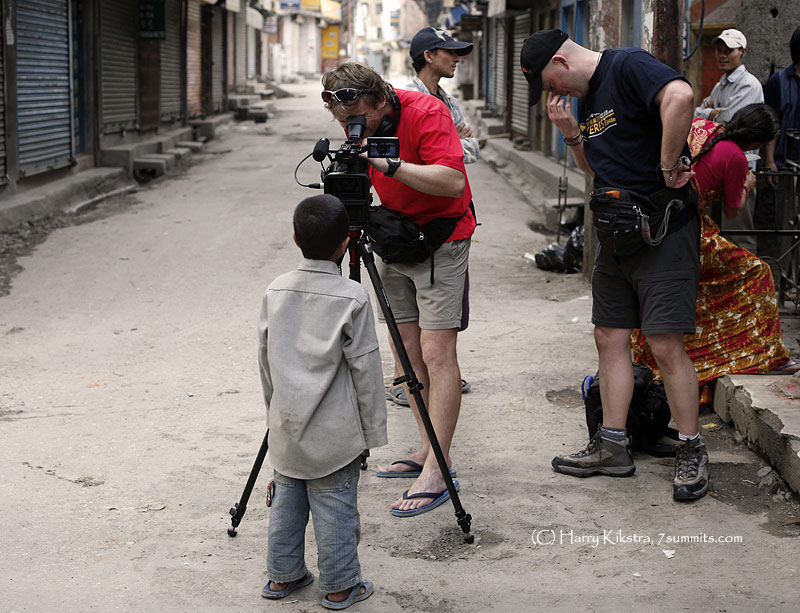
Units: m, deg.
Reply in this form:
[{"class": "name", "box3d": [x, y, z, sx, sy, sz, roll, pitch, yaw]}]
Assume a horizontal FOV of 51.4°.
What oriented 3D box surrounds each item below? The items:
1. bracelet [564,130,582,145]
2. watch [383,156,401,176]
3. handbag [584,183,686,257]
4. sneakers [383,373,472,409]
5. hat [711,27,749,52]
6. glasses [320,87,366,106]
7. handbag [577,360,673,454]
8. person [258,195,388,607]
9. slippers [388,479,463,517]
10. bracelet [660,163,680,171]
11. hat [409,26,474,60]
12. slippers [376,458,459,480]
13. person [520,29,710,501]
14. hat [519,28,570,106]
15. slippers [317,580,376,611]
[{"class": "bracelet", "box3d": [0.898, -0.865, 4.288, 0.066, 0.028, 0.068, 9, -27, -22]}, {"class": "watch", "box3d": [-0.025, -0.625, 3.658, 0.053, 0.067, 0.076, 7, 2, 5]}, {"class": "handbag", "box3d": [1.135, -0.405, 3.986, 0.393, 0.270, 0.307, -5, 7, -14]}, {"class": "sneakers", "box3d": [0.192, 0.554, 5.199, 0.248, 0.253, 0.666, -1, -7, -40]}, {"class": "hat", "box3d": [3.072, -2.419, 7.641, 0.236, 0.161, 0.325, 30, 18, 38]}, {"class": "glasses", "box3d": [-0.264, -0.961, 3.792, 0.212, 0.077, 0.130, 1, 17, 11]}, {"class": "handbag", "box3d": [1.234, 0.553, 4.482, 0.500, 0.501, 0.390, 1, -8, 17]}, {"class": "person", "box3d": [-0.325, 0.365, 3.293, 0.528, 1.551, 0.572, -3, 17, -2]}, {"class": "slippers", "box3d": [0.134, 0.918, 3.978, 0.373, 0.083, 0.166, -9, 8, -33]}, {"class": "bracelet", "box3d": [1.249, -0.639, 3.857, 0.076, 0.033, 0.045, 6, 18, 25]}, {"class": "hat", "box3d": [0.261, -1.734, 5.454, 0.363, 0.166, 0.224, -4, 12, 7]}, {"class": "slippers", "box3d": [0.096, 0.832, 4.355, 0.382, 0.085, 0.143, 1, 1, -5]}, {"class": "person", "box3d": [1.088, -0.231, 4.074, 0.992, 2.184, 0.618, 7, 19, 28]}, {"class": "hat", "box3d": [0.702, -1.157, 4.016, 0.222, 0.351, 0.335, 0, 17, 9]}, {"class": "slippers", "box3d": [-0.207, 1.143, 3.284, 0.214, 0.091, 0.087, -13, 19, -40]}]
